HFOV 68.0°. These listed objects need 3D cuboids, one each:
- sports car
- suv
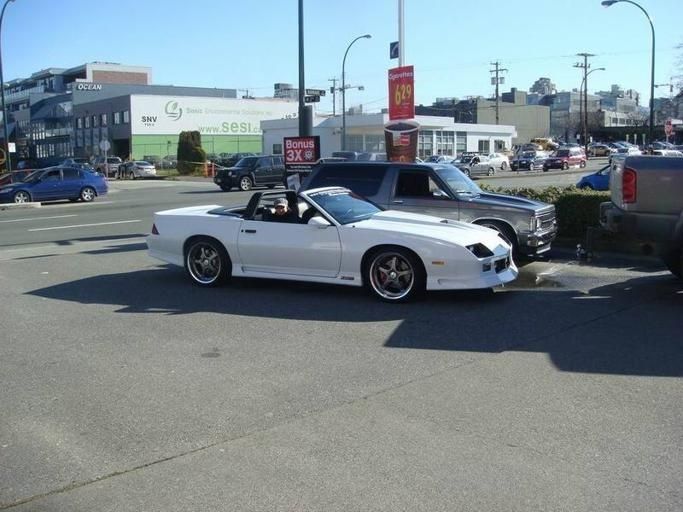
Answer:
[{"bbox_3d":[-0.523,0.150,9.434,5.987,1.573,2.459,4,-13,10],"label":"sports car"},{"bbox_3d":[2.074,-1.265,11.260,4.767,1.812,2.264,4,9,20],"label":"suv"}]
